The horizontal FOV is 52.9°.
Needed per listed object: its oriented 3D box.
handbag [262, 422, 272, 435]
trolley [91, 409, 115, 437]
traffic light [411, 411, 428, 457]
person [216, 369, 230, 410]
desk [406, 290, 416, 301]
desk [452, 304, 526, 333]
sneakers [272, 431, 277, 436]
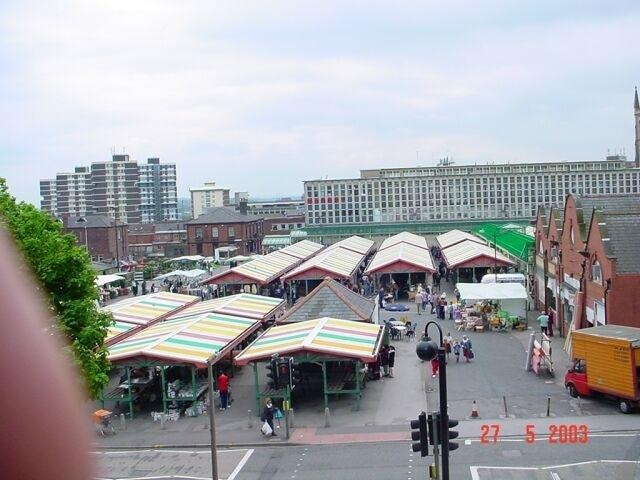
[{"bbox_3d":[-1.942,7.071,23.849,0.385,0.525,0.223,-4,3,1],"label":"handbag"},{"bbox_3d":[-8.485,7.278,25.463,0.704,0.764,0.863,-5,3,-19],"label":"trolley"},{"bbox_3d":[2.123,4.144,13.553,0.435,0.815,0.398,-2,-6,-6],"label":"traffic light"},{"bbox_3d":[-4.233,6.657,28.545,0.457,1.595,1.908,-4,3,-9],"label":"person"},{"bbox_3d":[7.664,4.800,54.191,0.681,0.817,0.683,-1,-3,5],"label":"desk"},{"bbox_3d":[10.680,5.075,42.163,2.896,1.742,4.746,-6,3,-43],"label":"desk"},{"bbox_3d":[-1.673,7.299,24.047,0.158,0.149,0.066,-1,13,5],"label":"sneakers"}]
